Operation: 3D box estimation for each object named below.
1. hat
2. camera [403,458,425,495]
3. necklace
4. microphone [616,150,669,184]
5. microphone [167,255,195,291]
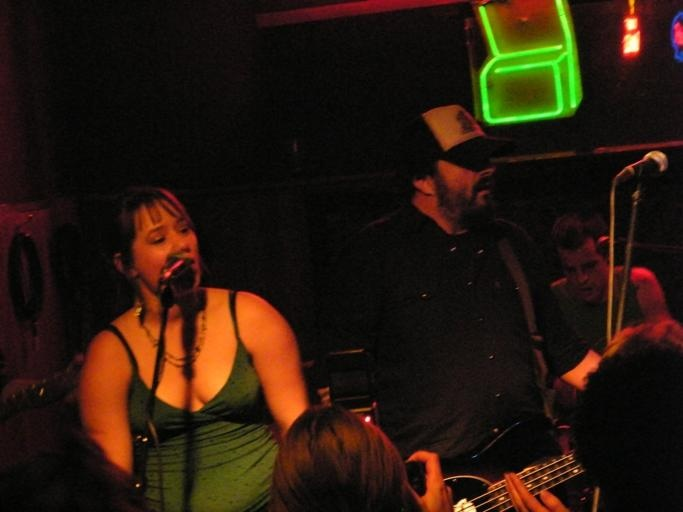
[{"bbox_3d":[0.453,-0.521,2.996,0.514,0.244,0.332,-8,10,37],"label":"hat"},{"bbox_3d":[0.308,0.916,2.859,0.033,0.110,0.112,-33,-6,42],"label":"camera"},{"bbox_3d":[-0.662,0.352,2.934,0.211,0.284,0.069,1,-4,-1],"label":"necklace"},{"bbox_3d":[1.247,-0.367,2.847,0.236,0.095,0.102,-18,11,-19],"label":"microphone"},{"bbox_3d":[-0.661,0.074,2.778,0.072,0.113,0.145,-4,3,27],"label":"microphone"}]
